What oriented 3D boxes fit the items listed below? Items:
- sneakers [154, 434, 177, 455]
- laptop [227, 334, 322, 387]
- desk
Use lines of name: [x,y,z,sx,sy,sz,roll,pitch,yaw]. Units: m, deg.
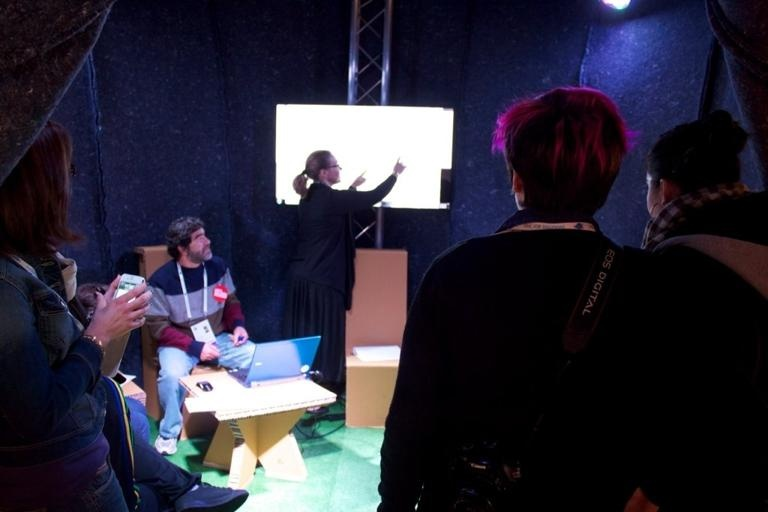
sneakers: [-1.284,1.114,3.363,0.137,0.066,0.185,4,-3,-14]
laptop: [-0.560,0.532,3.124,0.335,0.221,0.337,-2,16,-30]
desk: [-0.723,0.991,3.237,0.742,0.443,0.740,2,-2,43]
